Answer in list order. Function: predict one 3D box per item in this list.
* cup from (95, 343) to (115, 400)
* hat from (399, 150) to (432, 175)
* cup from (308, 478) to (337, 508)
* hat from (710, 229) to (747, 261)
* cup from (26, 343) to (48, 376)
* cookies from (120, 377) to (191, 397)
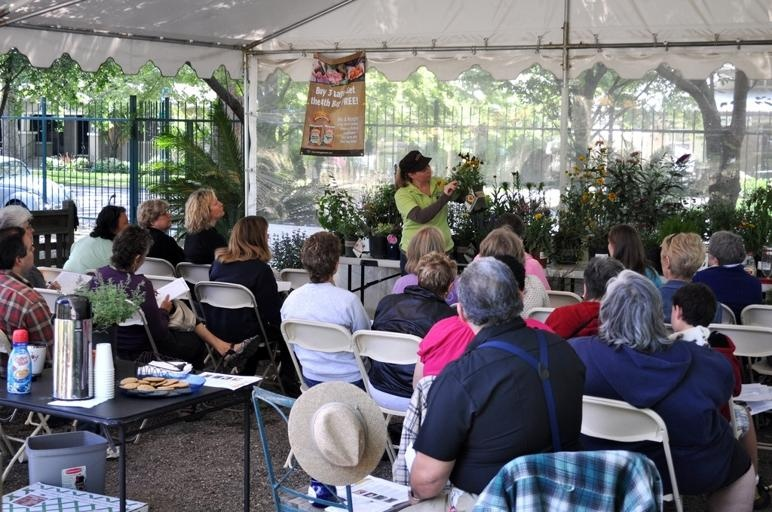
[{"bbox_3d":[-1.593,0.644,4.089,0.122,0.300,0.119,1,2,0],"label":"cup"},{"bbox_3d":[0.300,-0.977,7.556,0.277,0.178,0.216,-24,10,18],"label":"hat"},{"bbox_3d":[-0.351,1.261,3.887,0.131,0.144,0.141,1,-11,0],"label":"cup"},{"bbox_3d":[2.792,-0.070,5.945,0.200,0.285,0.274,-1,20,11],"label":"hat"},{"bbox_3d":[-2.064,0.627,4.339,0.137,0.180,0.150,0,-6,0],"label":"cup"},{"bbox_3d":[-1.319,0.743,4.139,0.407,0.075,0.203,3,3,16],"label":"cookies"}]
